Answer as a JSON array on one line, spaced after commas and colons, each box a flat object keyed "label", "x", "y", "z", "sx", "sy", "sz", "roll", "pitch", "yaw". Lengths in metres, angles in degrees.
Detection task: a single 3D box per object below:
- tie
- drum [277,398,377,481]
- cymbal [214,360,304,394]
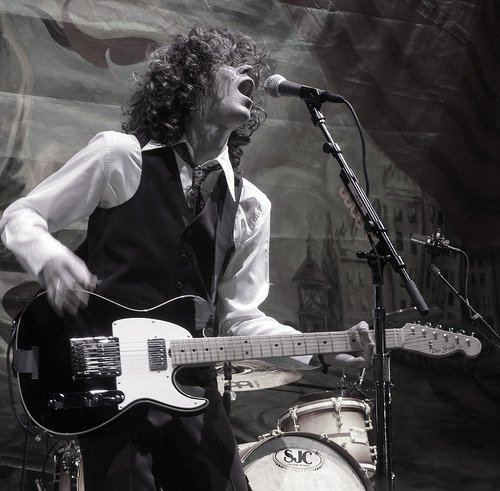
[{"label": "tie", "x": -0.214, "y": -0.281, "z": 3.176, "sx": 0.070, "sy": 0.216, "sz": 0.296, "roll": -13, "pitch": 39, "yaw": 34}, {"label": "drum", "x": 0.496, "y": 1.148, "z": 4.350, "sx": 0.455, "sy": 0.363, "sz": 0.491, "roll": -19, "pitch": -14, "yaw": -5}, {"label": "cymbal", "x": 0.047, "y": 0.659, "z": 3.791, "sx": 0.365, "sy": 0.073, "sz": 0.356, "roll": 11, "pitch": -28, "yaw": -36}]
